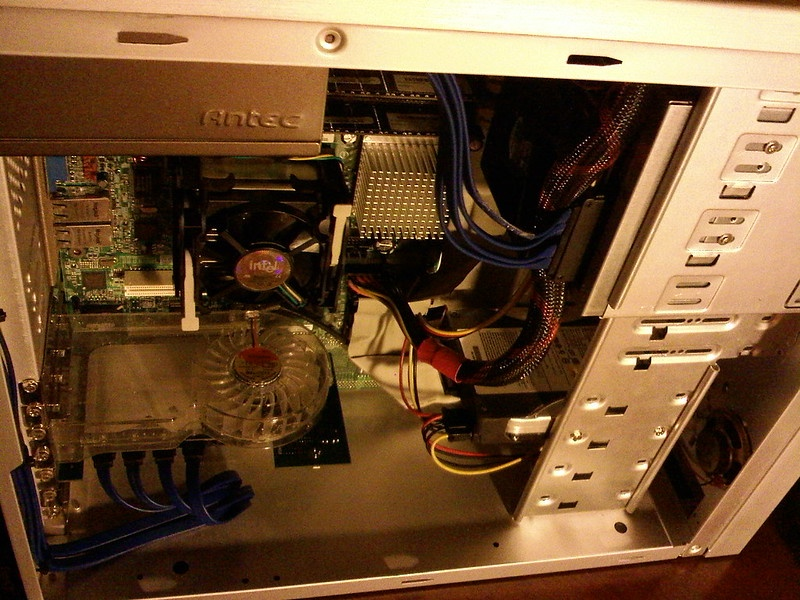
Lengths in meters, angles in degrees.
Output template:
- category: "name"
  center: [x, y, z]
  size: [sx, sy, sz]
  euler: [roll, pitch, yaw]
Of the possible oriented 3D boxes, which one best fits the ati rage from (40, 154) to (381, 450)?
- category: "ati rage"
  center: [-0.379, 0.002, 1.252]
  size: [0.531, 0.536, 0.135]
  euler: [0, 6, -11]
